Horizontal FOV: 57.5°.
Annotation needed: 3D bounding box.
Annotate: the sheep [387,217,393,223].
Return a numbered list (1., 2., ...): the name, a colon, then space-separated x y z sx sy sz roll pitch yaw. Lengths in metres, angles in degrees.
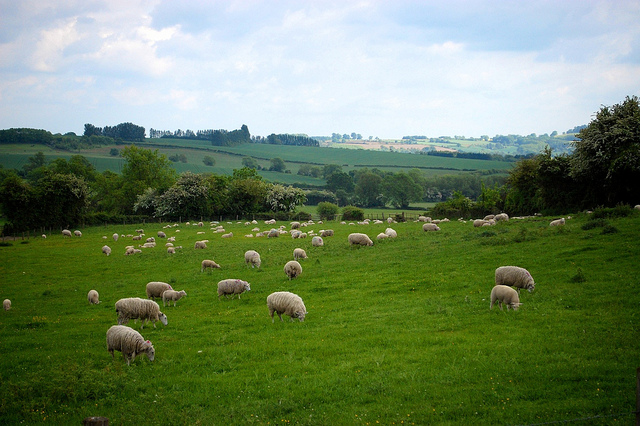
1. sheep: 11.927 1.082 99.767 0.817 0.547 1.285 2 0 9

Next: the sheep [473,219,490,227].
1. sheep: 20.088 1.223 72.372 2.383 1.338 0.780 2 8 -9

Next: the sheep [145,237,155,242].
1. sheep: -23.367 3.642 80.859 1.036 0.616 0.754 -5 8 -21

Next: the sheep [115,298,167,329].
1. sheep: -13.574 7.676 44.576 3.861 2.236 1.488 11 -9 -18

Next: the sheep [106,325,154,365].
1. sheep: -12.959 8.902 39.740 3.127 2.352 0.936 -2 7 11

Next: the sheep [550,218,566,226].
1. sheep: 25.021 0.941 61.432 0.769 1.061 2.046 6 8 37

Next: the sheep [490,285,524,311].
1. sheep: 13.989 6.490 43.784 1.284 1.962 2.829 4 4 -25

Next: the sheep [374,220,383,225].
1. sheep: 10.054 1.470 100.471 1.352 0.704 0.333 -7 19 -16

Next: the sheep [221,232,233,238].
1. sheep: -13.826 3.230 85.530 1.959 1.081 0.616 -2 1 26

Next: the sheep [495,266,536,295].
1. sheep: 15.267 4.963 45.936 3.488 2.398 1.465 14 4 10

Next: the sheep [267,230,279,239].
1. sheep: -6.567 2.852 82.518 1.601 0.792 1.789 -4 7 -9

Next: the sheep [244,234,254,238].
1. sheep: -10.304 3.202 85.339 0.807 0.411 0.503 9 7 43

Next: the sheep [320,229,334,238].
1. sheep: 0.965 2.646 78.294 1.608 0.824 1.246 -4 7 -4
